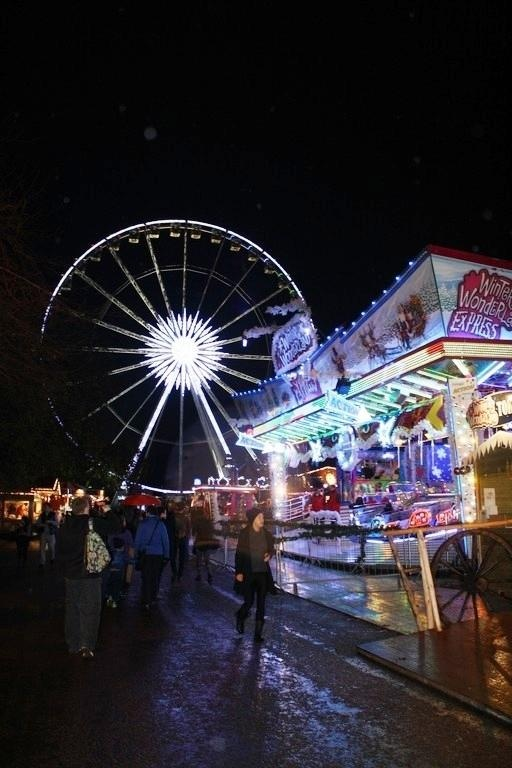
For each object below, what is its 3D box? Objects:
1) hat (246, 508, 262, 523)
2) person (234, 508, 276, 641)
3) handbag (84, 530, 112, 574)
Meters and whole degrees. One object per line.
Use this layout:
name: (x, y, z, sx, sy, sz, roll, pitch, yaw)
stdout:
hat: (-0.020, 1.762, 6.566, 0.214, 0.208, 0.160, -6, -11, 1)
person: (-0.017, 2.419, 6.269, 0.501, 1.574, 0.820, -1, -10, -1)
handbag: (-1.677, 1.778, 5.228, 0.264, 0.472, 0.148, 4, -11, -28)
